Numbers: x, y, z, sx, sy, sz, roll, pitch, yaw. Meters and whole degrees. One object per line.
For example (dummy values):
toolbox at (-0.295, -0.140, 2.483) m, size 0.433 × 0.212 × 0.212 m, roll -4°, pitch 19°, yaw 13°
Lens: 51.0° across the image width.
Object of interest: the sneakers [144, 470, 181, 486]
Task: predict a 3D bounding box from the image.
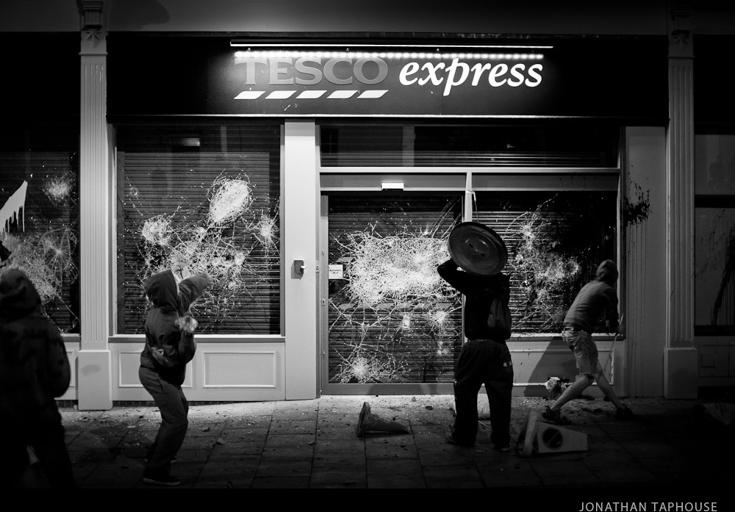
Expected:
sneakers at (-2.489, 2.701, 9.417) m, size 0.497 × 0.213 × 0.169 m, roll 4°, pitch -4°, yaw -6°

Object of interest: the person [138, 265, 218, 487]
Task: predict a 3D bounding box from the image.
person at (-2.413, 1.472, 9.370) m, size 0.704 × 2.602 × 0.471 m, roll 1°, pitch 2°, yaw -17°

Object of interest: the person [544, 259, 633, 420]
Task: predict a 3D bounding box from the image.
person at (3.110, 1.200, 10.937) m, size 1.285 × 2.263 × 0.563 m, roll 0°, pitch 2°, yaw -24°

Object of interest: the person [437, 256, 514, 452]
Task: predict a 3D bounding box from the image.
person at (1.446, 1.291, 10.100) m, size 0.874 × 2.447 × 0.396 m, roll 1°, pitch 1°, yaw 6°
